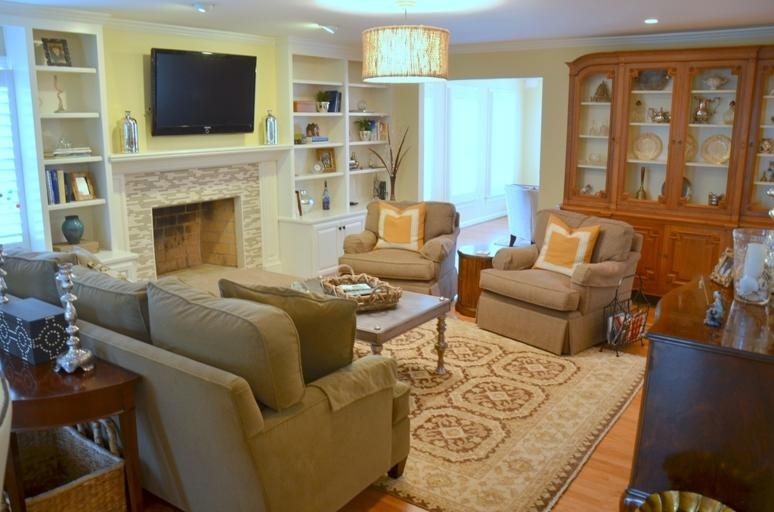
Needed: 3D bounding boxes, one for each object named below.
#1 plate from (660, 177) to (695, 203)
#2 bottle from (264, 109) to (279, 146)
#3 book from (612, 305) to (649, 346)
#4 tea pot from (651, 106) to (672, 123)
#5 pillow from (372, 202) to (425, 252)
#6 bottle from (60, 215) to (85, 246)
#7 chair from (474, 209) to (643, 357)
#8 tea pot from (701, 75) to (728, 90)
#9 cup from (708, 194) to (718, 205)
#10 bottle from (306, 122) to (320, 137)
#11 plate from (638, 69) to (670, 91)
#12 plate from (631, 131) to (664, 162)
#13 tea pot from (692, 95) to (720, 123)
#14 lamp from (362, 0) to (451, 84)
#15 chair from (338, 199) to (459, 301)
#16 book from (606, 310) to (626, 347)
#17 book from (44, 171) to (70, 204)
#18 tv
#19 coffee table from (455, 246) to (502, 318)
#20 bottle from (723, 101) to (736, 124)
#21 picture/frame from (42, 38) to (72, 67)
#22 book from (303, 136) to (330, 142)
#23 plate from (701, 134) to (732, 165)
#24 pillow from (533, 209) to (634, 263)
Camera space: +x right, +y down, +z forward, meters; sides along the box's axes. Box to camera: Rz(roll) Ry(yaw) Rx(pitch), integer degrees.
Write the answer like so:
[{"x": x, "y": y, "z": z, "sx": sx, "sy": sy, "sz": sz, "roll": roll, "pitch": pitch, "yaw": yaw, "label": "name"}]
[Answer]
[{"x": 3.430, "y": -0.759, "z": 6.291, "sx": 0.302, "sy": 0.300, "sz": 0.033, "roll": -7, "pitch": 1, "yaw": 41, "label": "plate"}, {"x": -1.455, "y": -1.621, "z": 6.892, "sx": 0.179, "sy": 0.424, "sz": 0.286, "roll": -1, "pitch": 12, "yaw": -6, "label": "bottle"}, {"x": 2.256, "y": 0.658, "z": 5.119, "sx": 0.346, "sy": 0.309, "sz": 0.145, "roll": -8, "pitch": 17, "yaw": -24, "label": "book"}, {"x": 3.154, "y": -1.607, "z": 6.313, "sx": 0.189, "sy": 0.157, "sz": 0.188, "roll": -1, "pitch": 3, "yaw": 0, "label": "tea pot"}, {"x": 0.153, "y": -0.317, "z": 6.220, "sx": 0.584, "sy": 0.553, "sz": 0.228, "roll": 0, "pitch": -7, "yaw": 10, "label": "pillow"}, {"x": -3.025, "y": -0.253, "z": 5.336, "sx": 0.259, "sy": 0.305, "sz": 0.263, "roll": 0, "pitch": -3, "yaw": 0, "label": "bottle"}, {"x": 1.729, "y": 0.194, "z": 5.577, "sx": 1.287, "sy": 1.196, "sz": 1.232, "roll": -11, "pitch": 19, "yaw": -43, "label": "chair"}, {"x": 3.592, "y": -1.889, "z": 5.982, "sx": 0.189, "sy": 0.107, "sz": 0.149, "roll": -1, "pitch": 2, "yaw": -7, "label": "tea pot"}, {"x": 3.648, "y": -0.633, "z": 6.122, "sx": 0.091, "sy": 0.125, "sz": 0.149, "roll": 6, "pitch": 13, "yaw": 28, "label": "cup"}, {"x": -0.978, "y": -1.708, "z": 7.492, "sx": 0.189, "sy": 0.215, "sz": 0.189, "roll": 1, "pitch": 2, "yaw": 33, "label": "bottle"}, {"x": 3.033, "y": -2.017, "z": 6.278, "sx": 0.265, "sy": 0.151, "sz": 0.233, "roll": -1, "pitch": 6, "yaw": 14, "label": "plate"}, {"x": 3.060, "y": -1.286, "z": 6.461, "sx": 0.312, "sy": 0.314, "sz": 0.076, "roll": 7, "pitch": 11, "yaw": 41, "label": "plate"}, {"x": 3.538, "y": -1.639, "z": 6.117, "sx": 0.315, "sy": 0.313, "sz": 0.227, "roll": 0, "pitch": 4, "yaw": 15, "label": "tea pot"}, {"x": 0.150, "y": -1.621, "z": 4.344, "sx": 0.557, "sy": 0.592, "sz": 0.554, "roll": -1, "pitch": 5, "yaw": 4, "label": "lamp"}, {"x": 0.124, "y": -0.018, "z": 6.219, "sx": 1.238, "sy": 1.123, "sz": 1.066, "roll": 7, "pitch": 16, "yaw": 31, "label": "chair"}, {"x": 2.137, "y": 0.677, "z": 5.125, "sx": 0.134, "sy": 0.375, "sz": 0.288, "roll": 6, "pitch": 11, "yaw": 24, "label": "book"}, {"x": -3.110, "y": -0.648, "z": 5.153, "sx": 0.185, "sy": 0.299, "sz": 0.312, "roll": 1, "pitch": 6, "yaw": 4, "label": "book"}, {"x": -2.063, "y": -1.840, "z": 6.064, "sx": 0.115, "sy": 0.806, "sz": 1.145, "roll": 18, "pitch": 18, "yaw": 37, "label": "tv"}, {"x": 1.002, "y": 0.299, "z": 6.153, "sx": 0.490, "sy": 0.644, "sz": 0.505, "roll": 6, "pitch": 10, "yaw": 27, "label": "coffee table"}, {"x": 3.731, "y": -1.566, "z": 5.976, "sx": 0.067, "sy": 0.262, "sz": 0.123, "roll": 1, "pitch": 12, "yaw": 3, "label": "bottle"}, {"x": -3.064, "y": -1.899, "z": 5.093, "sx": 0.220, "sy": 0.279, "sz": 0.192, "roll": -10, "pitch": 16, "yaw": -41, "label": "picture/frame"}, {"x": -0.969, "y": -1.564, "z": 7.378, "sx": 0.178, "sy": 0.042, "sz": 0.179, "roll": 1, "pitch": 6, "yaw": 25, "label": "book"}, {"x": 3.640, "y": -1.185, "z": 6.091, "sx": 0.266, "sy": 0.331, "sz": 0.132, "roll": 6, "pitch": 14, "yaw": 27, "label": "plate"}, {"x": 1.951, "y": -0.182, "z": 5.473, "sx": 0.591, "sy": 0.362, "sz": 0.206, "roll": 10, "pitch": 20, "yaw": 36, "label": "pillow"}]
